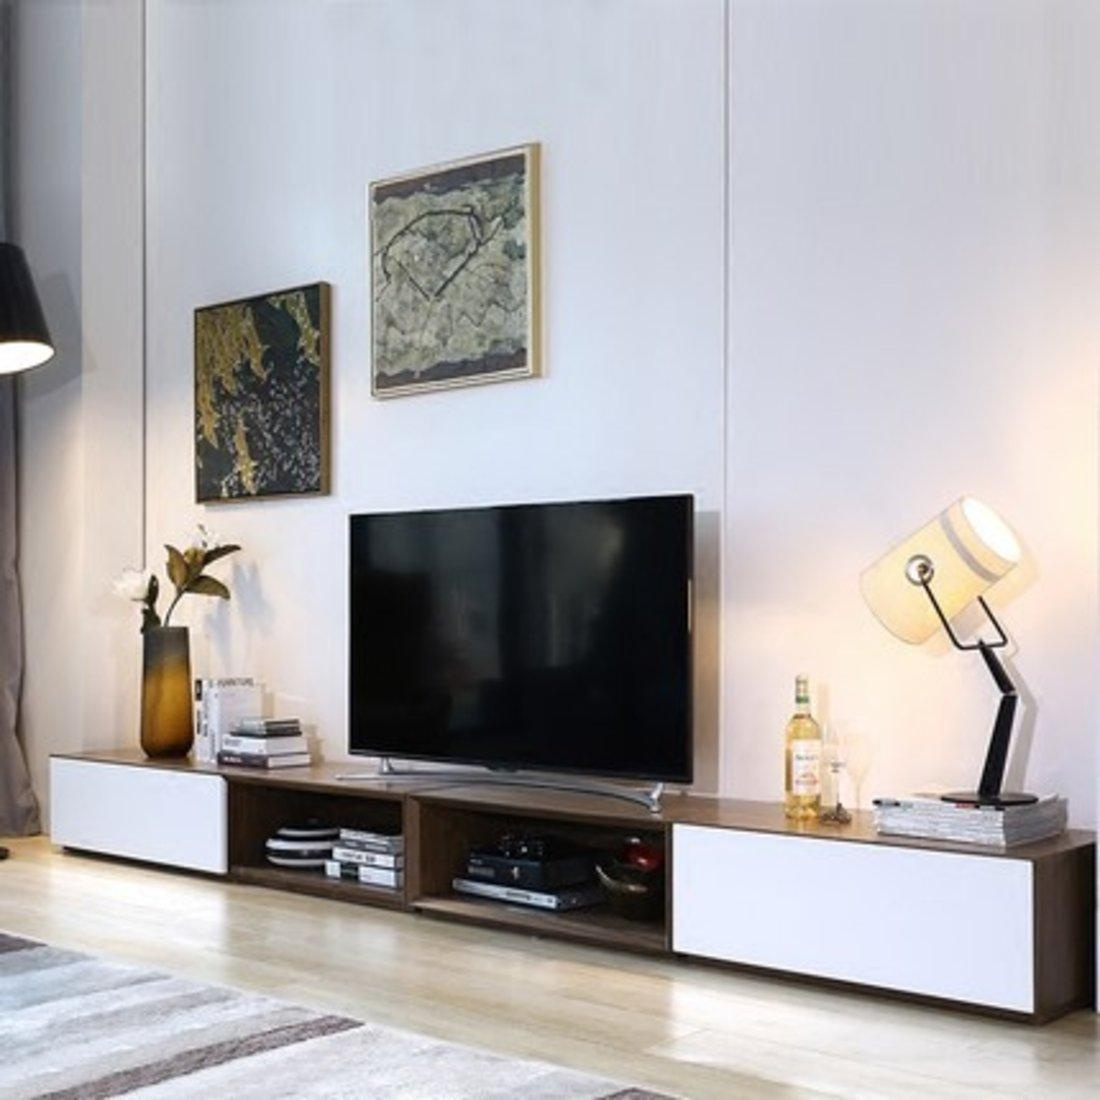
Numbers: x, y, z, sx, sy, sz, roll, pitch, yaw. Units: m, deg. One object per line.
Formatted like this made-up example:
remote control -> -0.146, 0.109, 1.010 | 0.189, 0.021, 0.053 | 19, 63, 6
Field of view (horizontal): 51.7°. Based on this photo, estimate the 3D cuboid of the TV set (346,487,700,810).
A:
TV set -> -0.043, 0.274, 3.058 | 0.816, 0.654, 0.122 | -1, -2, 40

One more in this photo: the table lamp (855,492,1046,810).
table lamp -> 0.847, 0.200, 2.424 | 0.331, 0.637, 0.369 | 7, -9, -43

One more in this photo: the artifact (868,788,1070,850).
artifact -> 0.888, 0.530, 2.246 | 0.428, 0.084, 0.261 | 3, -8, -17

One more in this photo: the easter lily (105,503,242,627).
easter lily -> -1.402, 0.102, 4.188 | 0.381, 0.418, 0.631 | 6, -9, -39
